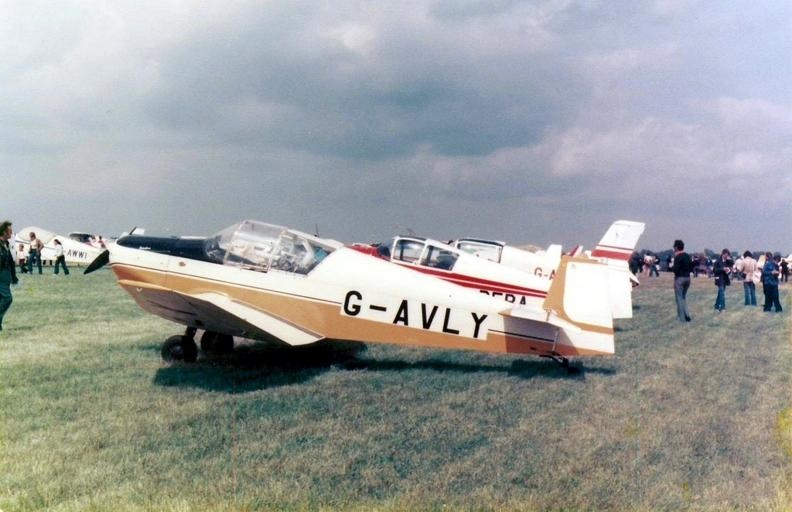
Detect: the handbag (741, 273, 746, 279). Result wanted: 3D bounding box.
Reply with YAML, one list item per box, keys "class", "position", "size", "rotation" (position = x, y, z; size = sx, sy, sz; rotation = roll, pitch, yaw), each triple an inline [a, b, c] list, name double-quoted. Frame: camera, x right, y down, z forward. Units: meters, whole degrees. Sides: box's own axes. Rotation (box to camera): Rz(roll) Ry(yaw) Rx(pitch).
- class: "handbag"
  position: [11.501, 0.671, 20.154]
  size: [0.072, 0.185, 0.227]
  rotation: [-12, -2, -7]
